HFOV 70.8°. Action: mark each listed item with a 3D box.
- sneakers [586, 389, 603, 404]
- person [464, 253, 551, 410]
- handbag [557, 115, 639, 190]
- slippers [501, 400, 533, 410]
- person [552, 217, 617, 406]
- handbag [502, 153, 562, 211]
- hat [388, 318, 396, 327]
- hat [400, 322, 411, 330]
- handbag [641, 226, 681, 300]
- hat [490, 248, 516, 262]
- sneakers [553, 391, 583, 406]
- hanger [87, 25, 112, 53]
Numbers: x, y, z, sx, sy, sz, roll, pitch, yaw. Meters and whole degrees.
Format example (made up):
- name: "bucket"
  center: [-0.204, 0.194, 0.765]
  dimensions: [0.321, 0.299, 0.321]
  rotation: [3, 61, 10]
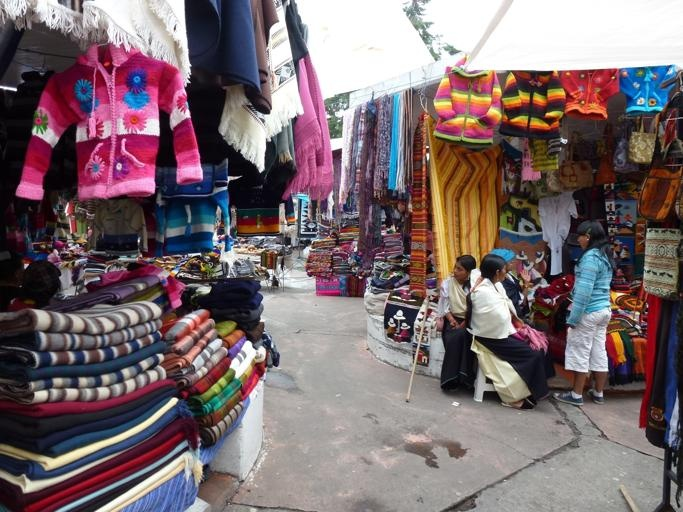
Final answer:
- name: "sneakers"
  center: [2.526, 1.403, 4.784]
  dimensions: [0.072, 0.077, 0.189]
  rotation: [-3, 5, 1]
- name: "person"
  center: [1.642, 0.734, 4.739]
  dimensions: [0.787, 1.411, 0.456]
  rotation: [4, 10, 24]
- name: "handbag"
  center: [3.135, -1.251, 5.881]
  dimensions: [0.822, 0.878, 0.816]
  rotation: [5, 10, 29]
- name: "slippers"
  center: [1.706, 1.440, 4.621]
  dimensions: [0.257, 0.067, 0.106]
  rotation: [-2, 2, 20]
- name: "person"
  center: [2.400, 0.566, 4.682]
  dimensions: [0.400, 1.761, 0.475]
  rotation: [8, 12, 40]
- name: "handbag"
  center: [2.282, -0.934, 5.902]
  dimensions: [0.703, 0.632, 0.217]
  rotation: [-2, 9, -14]
- name: "hat"
  center: [0.588, 0.781, 5.596]
  dimensions: [0.077, 0.093, 0.035]
  rotation: [3, 5, 21]
- name: "hat"
  center: [0.727, 0.806, 5.485]
  dimensions: [0.080, 0.034, 0.083]
  rotation: [-12, 12, -33]
- name: "handbag"
  center: [1.944, 0.037, 2.911]
  dimensions: [0.077, 0.414, 0.265]
  rotation: [-2, 9, -13]
- name: "hat"
  center: [1.811, -0.023, 5.400]
  dimensions: [0.211, 0.097, 0.193]
  rotation: [4, 2, 12]
- name: "sneakers"
  center: [2.236, 1.400, 4.764]
  dimensions: [0.267, 0.123, 0.110]
  rotation: [7, 5, 44]
- name: "hanger"
  center: [-1.161, -1.031, 2.269]
  dimensions: [0.118, 0.094, 0.118]
  rotation: [-1, 20, 4]
